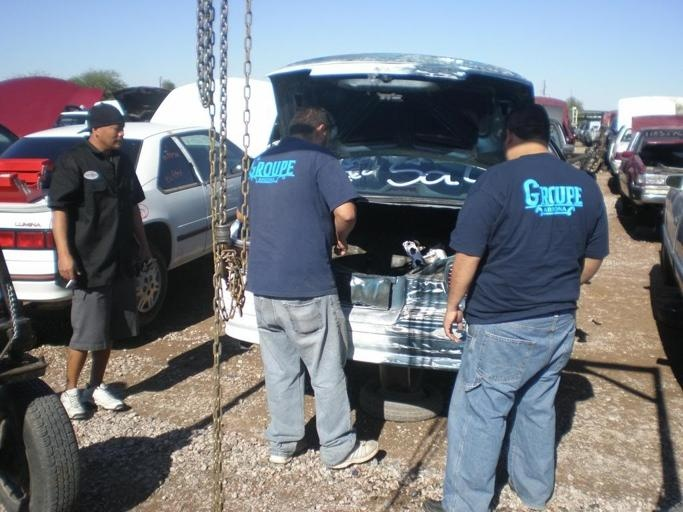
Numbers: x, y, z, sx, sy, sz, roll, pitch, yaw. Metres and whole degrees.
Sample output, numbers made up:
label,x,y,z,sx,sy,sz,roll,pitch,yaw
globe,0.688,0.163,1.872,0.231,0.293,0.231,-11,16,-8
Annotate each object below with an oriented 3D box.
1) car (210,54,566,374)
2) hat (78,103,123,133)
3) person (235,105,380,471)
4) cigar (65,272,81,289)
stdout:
label,x,y,z,sx,sy,sz,roll,pitch,yaw
car,0.695,-0.656,4.554,1.865,1.847,3.312,6,36,14
hat,-1.760,-1.045,4.060,0.243,0.200,0.240,-9,19,-24
person,-0.208,0.233,3.491,0.785,2.248,0.630,-1,16,2
cigar,-1.918,0.167,3.898,0.027,0.106,0.075,40,8,-5
